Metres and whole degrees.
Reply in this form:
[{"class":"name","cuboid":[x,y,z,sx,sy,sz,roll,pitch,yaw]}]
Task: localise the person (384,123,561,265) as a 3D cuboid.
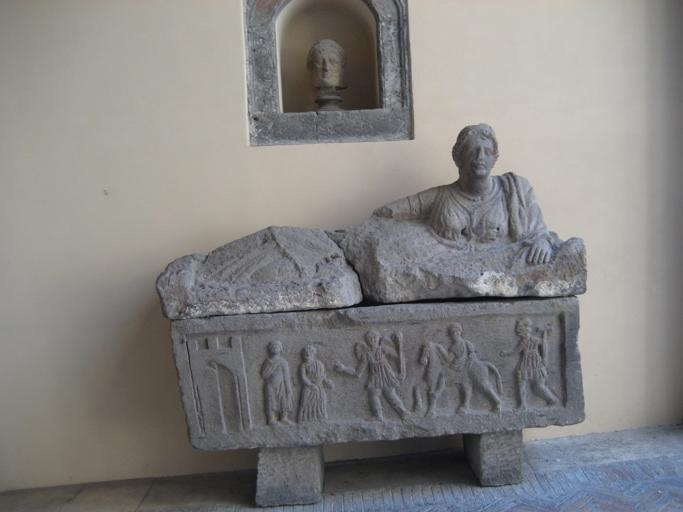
[{"class":"person","cuboid":[0.865,-0.441,5.403,1.233,0.798,0.626,6,13,17]}]
